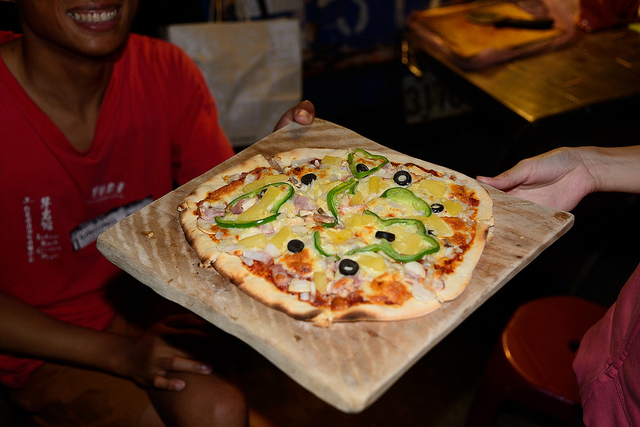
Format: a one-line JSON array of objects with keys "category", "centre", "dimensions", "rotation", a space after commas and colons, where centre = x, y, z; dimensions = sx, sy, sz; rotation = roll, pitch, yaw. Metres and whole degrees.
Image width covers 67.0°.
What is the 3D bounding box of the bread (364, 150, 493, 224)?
[{"category": "bread", "centre": [0.795, -0.331, 3.847], "dimensions": [1.109, 0.481, 0.896], "rotation": [0, 18, 8]}]
